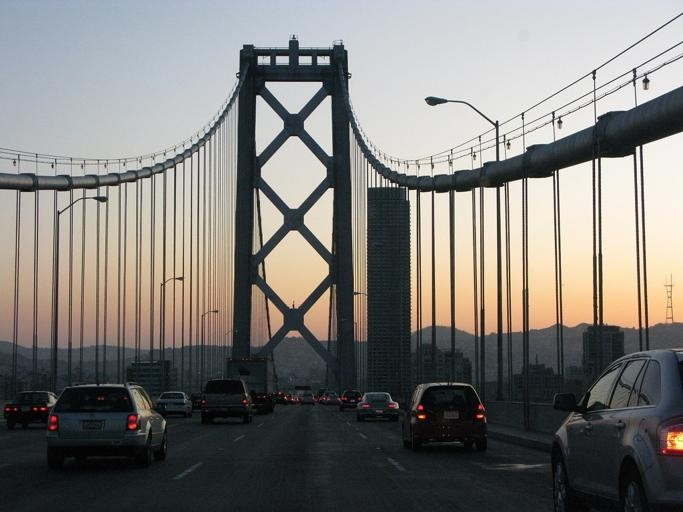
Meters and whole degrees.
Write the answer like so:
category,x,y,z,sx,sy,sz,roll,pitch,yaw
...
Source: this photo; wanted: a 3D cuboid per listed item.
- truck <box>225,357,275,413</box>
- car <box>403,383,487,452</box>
category,x,y,z,sx,sy,sz,roll,pitch,yaw
truck,-5.109,7.388,57.626,2.045,2.131,3.807,0,-5,4
car,2.450,3.865,24.035,1.215,1.007,2.168,0,-4,0
